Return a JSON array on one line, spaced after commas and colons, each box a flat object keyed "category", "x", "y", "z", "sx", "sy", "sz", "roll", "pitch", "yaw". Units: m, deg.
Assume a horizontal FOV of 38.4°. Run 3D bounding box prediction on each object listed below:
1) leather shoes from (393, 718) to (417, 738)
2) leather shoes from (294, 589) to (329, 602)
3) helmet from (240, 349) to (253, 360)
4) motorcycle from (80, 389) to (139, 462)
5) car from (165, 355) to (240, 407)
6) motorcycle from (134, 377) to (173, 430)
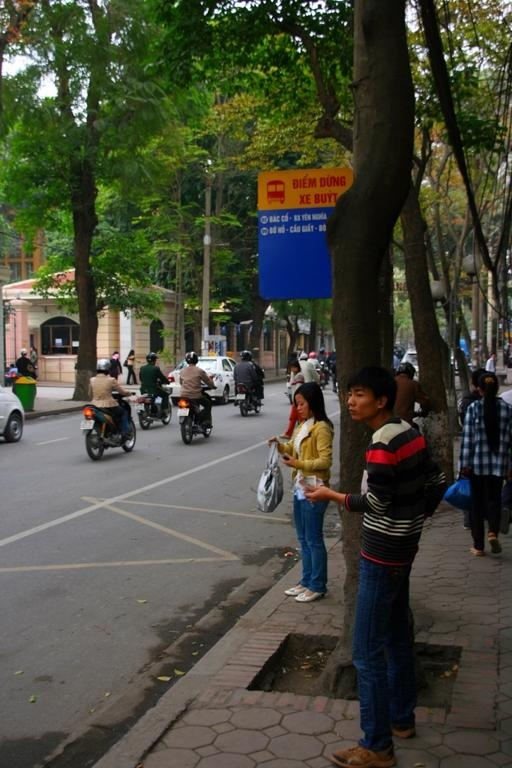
[{"category": "leather shoes", "x": 0.596, "y": 1.397, "z": 3.003, "sx": 0.042, "sy": 0.052, "sz": 0.115, "roll": 1, "pitch": 4, "yaw": 1}, {"category": "leather shoes", "x": 0.380, "y": 1.453, "z": 5.071, "sx": 0.211, "sy": 0.084, "sz": 0.077, "roll": 4, "pitch": -2, "yaw": -9}, {"category": "helmet", "x": -0.327, "y": -0.808, "z": 21.288, "sx": 0.306, "sy": 0.370, "sz": 0.380, "roll": 3, "pitch": 12, "yaw": 8}, {"category": "motorcycle", "x": -2.674, "y": 0.831, "z": 13.096, "sx": 0.600, "sy": 0.978, "sz": 1.532, "roll": -5, "pitch": 3, "yaw": 17}, {"category": "car", "x": -1.734, "y": -0.127, "z": 25.221, "sx": 1.249, "sy": 1.072, "sz": 2.792, "roll": 1, "pitch": 5, "yaw": 19}, {"category": "motorcycle", "x": -2.598, "y": 0.654, "z": 17.721, "sx": 0.553, "sy": 0.749, "sz": 1.164, "roll": 2, "pitch": 5, "yaw": 19}]
